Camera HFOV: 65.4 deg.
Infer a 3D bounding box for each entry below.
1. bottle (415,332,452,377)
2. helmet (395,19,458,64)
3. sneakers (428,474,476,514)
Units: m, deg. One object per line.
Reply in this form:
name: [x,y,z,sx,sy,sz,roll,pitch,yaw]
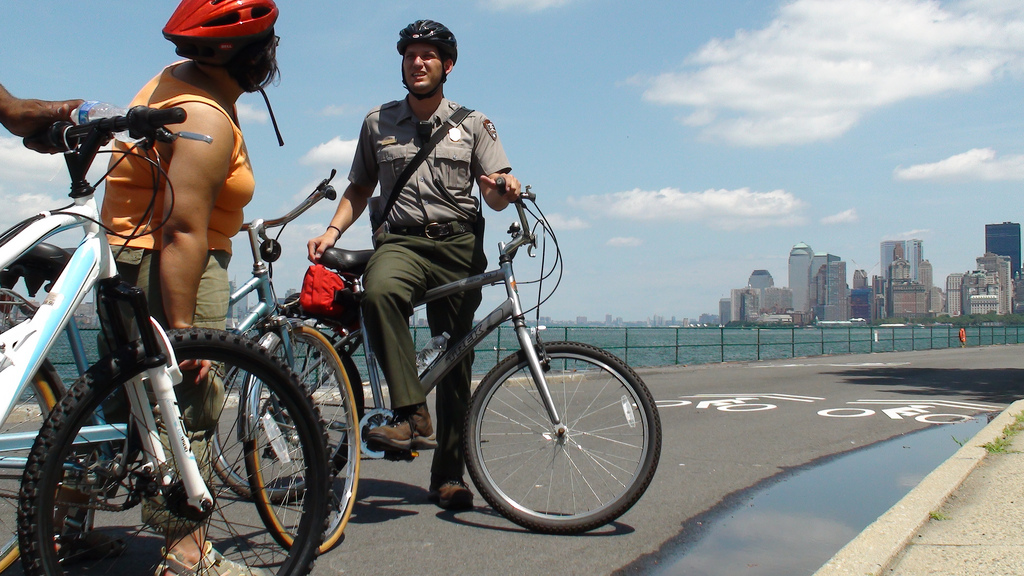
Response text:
bottle: [-0.601,0.494,5.950,0.394,0.128,0.092,-42,-2,-15]
helmet: [-0.626,-1.845,5.912,0.411,0.307,0.352,1,0,-9]
sneakers: [-0.467,1.591,6.134,0.180,0.247,0.384,9,-14,-43]
